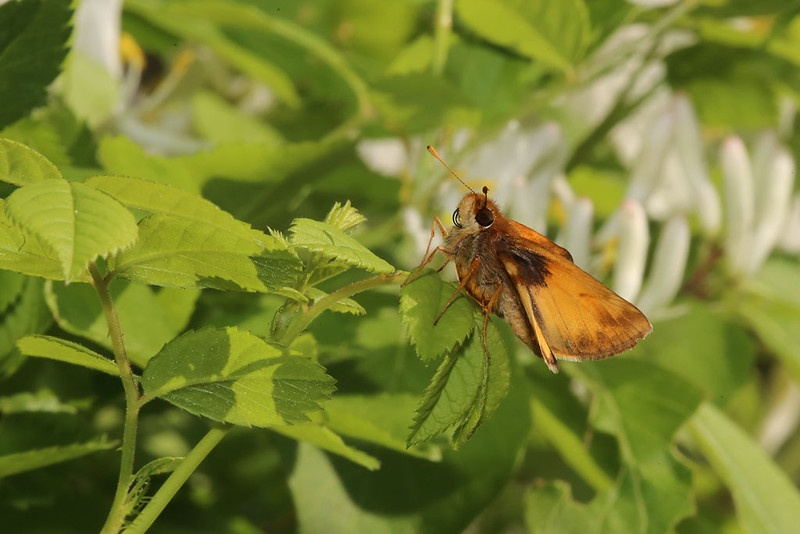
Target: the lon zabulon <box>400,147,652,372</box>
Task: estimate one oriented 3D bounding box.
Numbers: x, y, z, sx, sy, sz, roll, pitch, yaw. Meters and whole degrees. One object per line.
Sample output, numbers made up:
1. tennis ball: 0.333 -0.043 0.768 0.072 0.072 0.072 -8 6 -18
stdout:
1. lon zabulon: 0.152 0.019 1.133 0.299 0.175 0.177 9 24 -32
